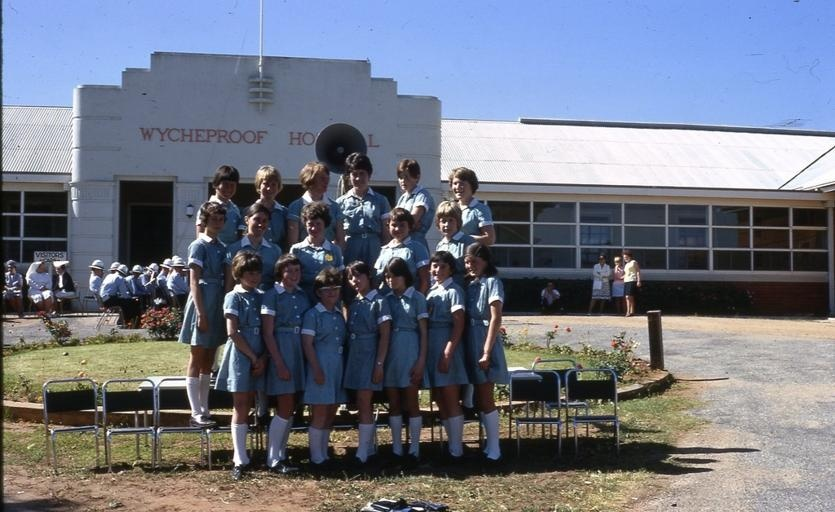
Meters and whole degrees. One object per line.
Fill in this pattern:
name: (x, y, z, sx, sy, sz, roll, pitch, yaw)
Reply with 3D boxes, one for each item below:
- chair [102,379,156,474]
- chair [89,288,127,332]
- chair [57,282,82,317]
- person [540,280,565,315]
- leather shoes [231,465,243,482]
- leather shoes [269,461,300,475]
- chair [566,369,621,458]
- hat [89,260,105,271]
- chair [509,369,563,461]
chair: (-5.759, 3.281, 23.783, 1.023, 1.724, 2.140, -1, -4, -15)
chair: (-8.728, 1.565, 33.696, 1.349, 1.569, 1.035, -2, 1, -14)
chair: (-10.659, 1.263, 36.149, 0.847, 1.210, 0.917, 1, -8, -11)
person: (4.289, 1.360, 38.462, 1.023, 1.187, 0.935, -1, -5, -3)
leather shoes: (-3.401, 4.100, 22.607, 0.239, 0.265, 0.284, -1, -4, -11)
leather shoes: (-2.474, 4.054, 22.799, 0.671, 0.227, 0.211, -3, -1, 7)
chair: (3.581, 3.065, 24.387, 1.048, 1.625, 2.192, -3, -4, 9)
hat: (-9.407, 0.243, 35.037, 0.351, 0.129, 0.360, 5, -6, 9)
chair: (2.398, 3.115, 24.165, 1.042, 1.648, 1.880, -2, -4, 6)
